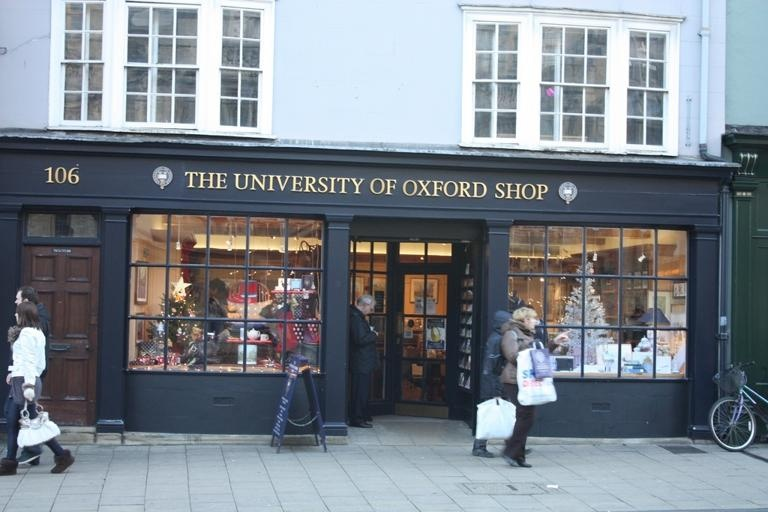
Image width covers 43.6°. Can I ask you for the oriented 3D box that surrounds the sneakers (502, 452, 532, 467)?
[{"bbox_3d":[2.070,3.152,14.938,0.518,0.198,0.168,2,-6,20],"label":"sneakers"}]

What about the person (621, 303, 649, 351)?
[{"bbox_3d":[4.482,1.260,16.844,0.544,0.721,0.538,-13,-10,39],"label":"person"}]

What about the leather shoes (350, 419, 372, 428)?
[{"bbox_3d":[-0.439,2.965,17.084,0.451,0.169,0.145,0,-2,-2],"label":"leather shoes"}]

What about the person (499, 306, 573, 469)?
[{"bbox_3d":[2.322,1.995,15.350,0.824,2.406,1.382,4,8,19],"label":"person"}]

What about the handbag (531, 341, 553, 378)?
[{"bbox_3d":[2.420,1.626,14.888,0.376,0.593,0.171,-5,-11,-1],"label":"handbag"}]

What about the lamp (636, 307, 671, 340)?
[{"bbox_3d":[4.697,1.161,16.671,0.545,0.519,0.570,0,-1,2],"label":"lamp"}]

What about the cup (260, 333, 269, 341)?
[{"bbox_3d":[-2.035,1.363,16.205,0.164,0.104,0.098,2,-4,-12],"label":"cup"}]

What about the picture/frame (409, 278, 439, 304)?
[{"bbox_3d":[0.765,0.618,18.003,0.530,0.444,0.036,1,-1,0],"label":"picture/frame"}]

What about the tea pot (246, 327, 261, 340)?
[{"bbox_3d":[-2.207,1.306,16.129,0.215,0.139,0.158,1,-2,40],"label":"tea pot"}]

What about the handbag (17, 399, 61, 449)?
[{"bbox_3d":[-5.101,2.475,14.004,0.571,0.598,0.326,1,8,-2],"label":"handbag"}]
